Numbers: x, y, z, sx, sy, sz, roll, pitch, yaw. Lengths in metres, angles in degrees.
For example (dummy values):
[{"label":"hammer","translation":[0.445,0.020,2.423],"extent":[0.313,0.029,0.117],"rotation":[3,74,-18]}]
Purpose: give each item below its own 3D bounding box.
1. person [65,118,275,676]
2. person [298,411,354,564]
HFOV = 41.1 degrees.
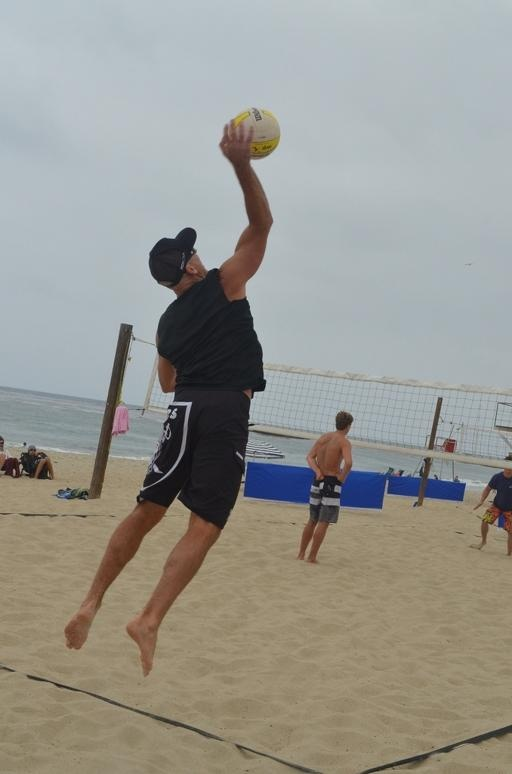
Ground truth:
[{"label":"person","translation":[-0.186,0.001,2.212],"extent":[0.409,1.787,0.433],"rotation":[15,1,1]},{"label":"person","translation":[0.601,0.909,6.244],"extent":[0.423,1.401,0.984],"rotation":[15,1,8]}]
